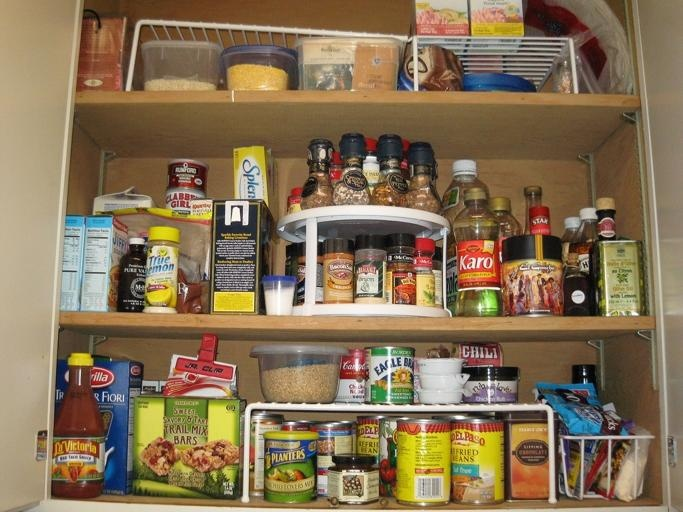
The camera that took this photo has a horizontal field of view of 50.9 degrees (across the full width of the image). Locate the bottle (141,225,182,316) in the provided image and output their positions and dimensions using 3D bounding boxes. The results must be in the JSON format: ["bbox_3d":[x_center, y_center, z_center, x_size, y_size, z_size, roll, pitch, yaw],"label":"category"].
[{"bbox_3d":[-0.464,0.033,1.900,0.105,0.231,0.085,3,-7,-27],"label":"bottle"}]

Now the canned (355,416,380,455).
[{"bbox_3d":[0.074,0.472,1.897,0.051,0.101,0.084,2,-6,-19],"label":"canned"}]

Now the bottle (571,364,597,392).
[{"bbox_3d":[0.701,0.351,2.064,0.083,0.080,0.076,2,-9,0],"label":"bottle"}]

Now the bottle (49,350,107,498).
[{"bbox_3d":[-0.653,0.439,1.798,0.122,0.327,0.056,2,-7,-20],"label":"bottle"}]

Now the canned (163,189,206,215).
[{"bbox_3d":[-0.438,-0.146,2.049,0.095,0.075,0.089,2,-5,-23],"label":"canned"}]

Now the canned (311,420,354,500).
[{"bbox_3d":[-0.012,0.531,1.893,0.120,0.167,0.108,1,-18,-15],"label":"canned"}]

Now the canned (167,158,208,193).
[{"bbox_3d":[-0.452,-0.231,2.123,0.137,0.079,0.129,0,-3,1],"label":"canned"}]

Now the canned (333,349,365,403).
[{"bbox_3d":[0.022,0.333,1.985,0.099,0.138,0.093,7,-12,-35],"label":"canned"}]

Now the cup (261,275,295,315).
[{"bbox_3d":[-0.157,0.105,1.866,0.103,0.092,0.101,0,-11,0],"label":"cup"}]

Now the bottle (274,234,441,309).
[{"bbox_3d":[0.068,0.071,1.860,0.246,0.107,0.247,2,-6,0],"label":"bottle"}]

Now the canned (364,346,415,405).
[{"bbox_3d":[0.136,0.314,1.897,0.128,0.150,0.128,-1,-6,2],"label":"canned"}]
